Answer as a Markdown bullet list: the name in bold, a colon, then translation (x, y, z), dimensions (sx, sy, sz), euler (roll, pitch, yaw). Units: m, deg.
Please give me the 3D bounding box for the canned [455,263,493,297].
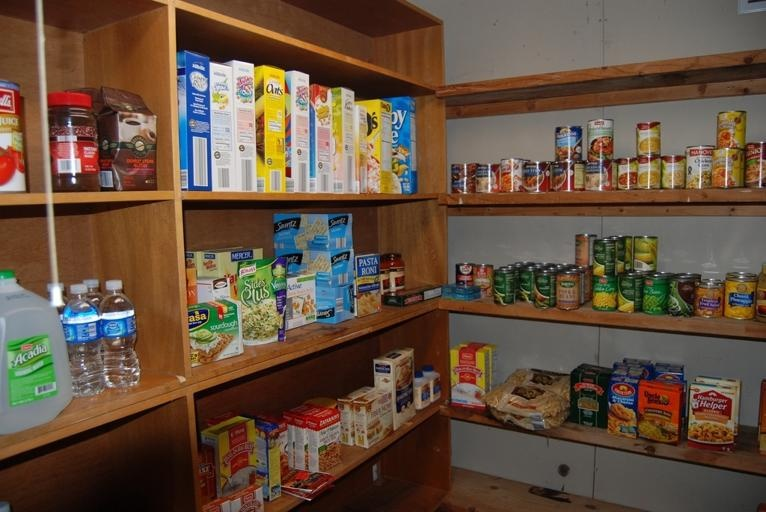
- **canned**: translation (0.500, 0.118, 3.042), dimensions (0.191, 0.171, 0.194), euler (-1, 3, -39)
